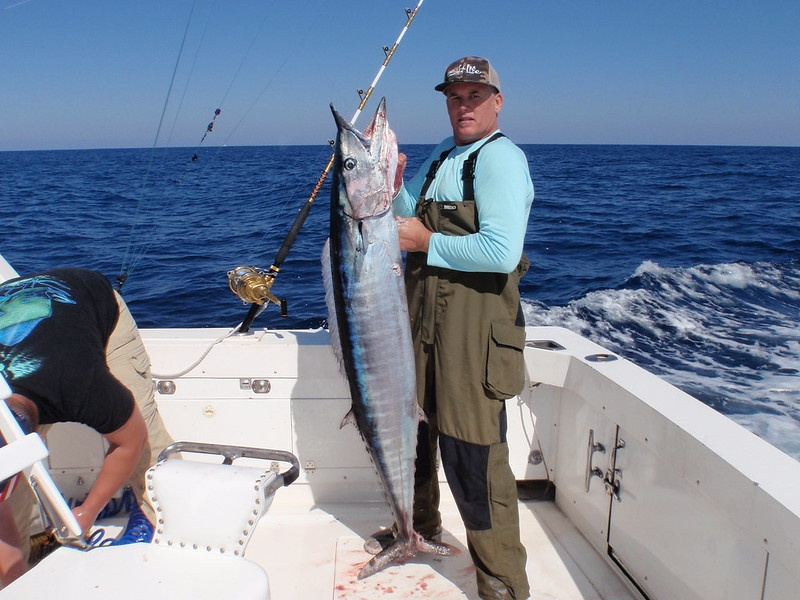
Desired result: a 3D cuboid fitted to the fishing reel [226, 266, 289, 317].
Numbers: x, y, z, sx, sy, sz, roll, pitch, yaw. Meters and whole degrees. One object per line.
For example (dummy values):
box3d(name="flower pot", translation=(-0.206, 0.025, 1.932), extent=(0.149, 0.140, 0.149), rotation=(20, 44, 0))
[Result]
box3d(name="fishing reel", translation=(-0.815, -0.057, 3.546), extent=(0.307, 0.236, 0.174), rotation=(8, -3, 35))

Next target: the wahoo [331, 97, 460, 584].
box3d(name="wahoo", translation=(-0.091, 0.172, 2.780), extent=(0.379, 1.705, 0.282), rotation=(-3, 8, 4))

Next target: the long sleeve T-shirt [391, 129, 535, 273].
box3d(name="long sleeve T-shirt", translation=(0.293, -0.428, 2.881), extent=(0.524, 0.700, 0.919), rotation=(3, 8, -21))
